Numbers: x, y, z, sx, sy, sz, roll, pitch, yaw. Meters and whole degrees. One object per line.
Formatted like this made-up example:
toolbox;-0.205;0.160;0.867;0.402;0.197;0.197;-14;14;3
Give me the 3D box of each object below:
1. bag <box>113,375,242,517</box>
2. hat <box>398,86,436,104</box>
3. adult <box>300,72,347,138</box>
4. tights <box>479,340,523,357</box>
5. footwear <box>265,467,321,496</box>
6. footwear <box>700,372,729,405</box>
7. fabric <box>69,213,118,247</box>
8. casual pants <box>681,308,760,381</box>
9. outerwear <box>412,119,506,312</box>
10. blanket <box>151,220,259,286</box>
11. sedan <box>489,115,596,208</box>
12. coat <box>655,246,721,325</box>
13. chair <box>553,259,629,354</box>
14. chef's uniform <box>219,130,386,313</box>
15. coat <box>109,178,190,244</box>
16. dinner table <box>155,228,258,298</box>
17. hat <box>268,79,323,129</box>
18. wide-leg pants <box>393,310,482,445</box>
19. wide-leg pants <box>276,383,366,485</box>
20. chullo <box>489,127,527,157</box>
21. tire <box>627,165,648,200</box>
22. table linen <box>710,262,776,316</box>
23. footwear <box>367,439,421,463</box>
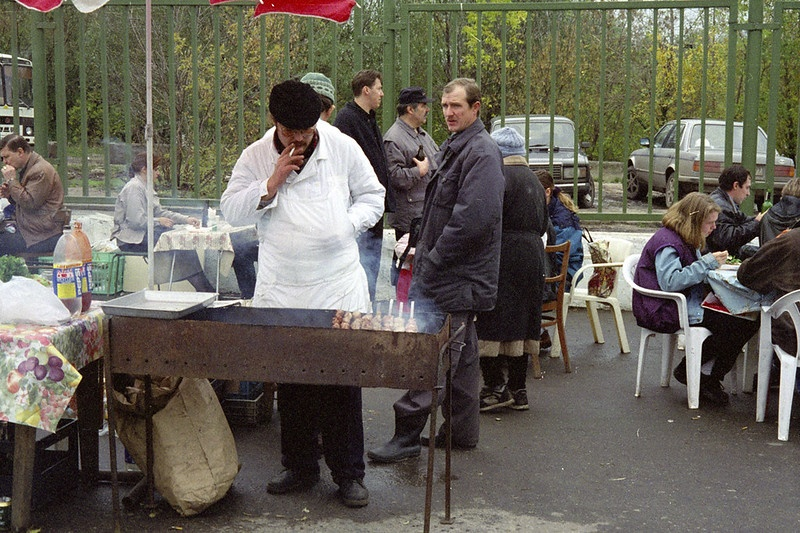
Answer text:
bag;-1.460;1.303;5.622;0.632;1.023;0.809;-17;-14;-3
hat;0.147;-1.691;7.810;0.226;0.125;0.179;-7;16;-8
adult;-0.630;-1.364;6.802;0.436;0.651;0.615;0;10;1
tights;0.829;0.663;6.602;0.224;0.103;0.188;-1;-3;-7
footwear;-0.747;1.503;5.716;0.356;0.204;0.151;3;1;-18
footwear;2.782;1.078;6.976;0.134;0.167;0.345;0;2;-44
fabric;-3.291;-0.401;8.781;0.500;0.330;0.288;2;0;3
casual pants;2.783;0.617;7.051;0.517;0.538;0.594;2;4;-25
outerwear;0.455;-0.094;6.200;0.550;1.950;0.807;3;11;1
blanket;-2.070;-0.231;8.282;0.794;0.503;0.852;1;5;13
sedan;2.686;-1.917;13.633;1.591;1.383;2.817;0;4;3
coat;2.411;0.153;7.019;0.553;0.769;0.577;-6;1;10
chair;1.997;0.429;8.665;0.847;1.290;0.999;1;0;0
chef's uniform;-0.626;-0.151;5.658;0.928;1.884;0.698;-4;19;-7
coat;-2.961;-0.643;9.693;1.005;0.814;0.541;-2;4;-41
dinner table;-1.984;-0.108;8.400;0.783;0.685;0.863;3;3;12
hat;-0.666;-1.035;5.185;0.327;0.315;0.121;-2;9;-9
wide-leg pants;0.428;0.929;6.283;0.660;1.062;0.899;-19;-4;-1
wide-leg pants;-0.560;1.041;5.599;0.560;1.166;0.345;6;27;6
chullo;0.887;-1.003;6.517;0.219;0.171;0.311;0;8;0
tire;5.166;-1.837;17.709;0.199;0.703;0.647;1;1;-18
table linen;2.846;0.201;6.693;0.389;0.441;0.170;-14;-35;21
footwear;-0.046;1.354;6.052;0.376;0.297;0.162;3;-2;-13
